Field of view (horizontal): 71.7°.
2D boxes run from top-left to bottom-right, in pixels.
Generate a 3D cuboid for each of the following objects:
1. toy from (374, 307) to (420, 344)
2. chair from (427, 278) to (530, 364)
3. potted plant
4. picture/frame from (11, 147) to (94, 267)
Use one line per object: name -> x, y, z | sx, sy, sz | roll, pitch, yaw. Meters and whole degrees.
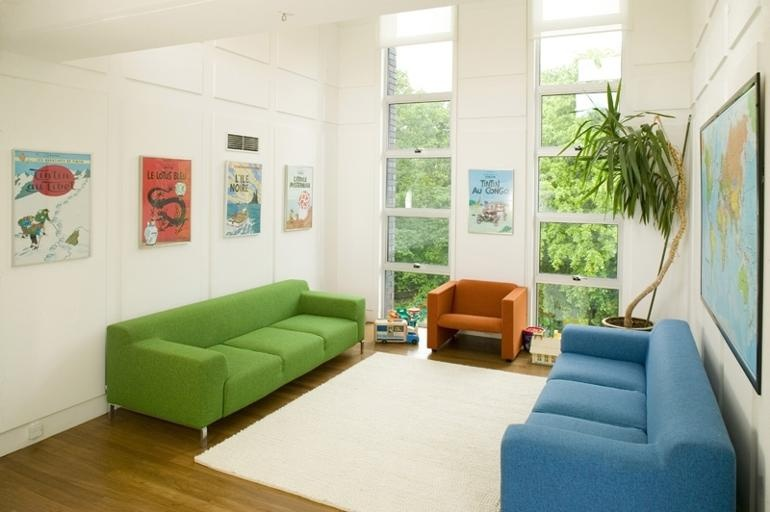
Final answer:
toy -> 0.195, 0.978, 7.719 | 0.618, 0.382, 0.685 | 1, 13, 4
chair -> 1.253, 0.828, 7.191 | 1.303, 0.842, 0.809 | 4, 11, 32
potted plant -> 2.904, -0.636, 6.510 | 1.387, 2.875, 1.073 | 11, 17, 39
picture/frame -> -2.982, -0.452, 4.846 | 0.156, 0.988, 0.785 | 9, 16, 32
